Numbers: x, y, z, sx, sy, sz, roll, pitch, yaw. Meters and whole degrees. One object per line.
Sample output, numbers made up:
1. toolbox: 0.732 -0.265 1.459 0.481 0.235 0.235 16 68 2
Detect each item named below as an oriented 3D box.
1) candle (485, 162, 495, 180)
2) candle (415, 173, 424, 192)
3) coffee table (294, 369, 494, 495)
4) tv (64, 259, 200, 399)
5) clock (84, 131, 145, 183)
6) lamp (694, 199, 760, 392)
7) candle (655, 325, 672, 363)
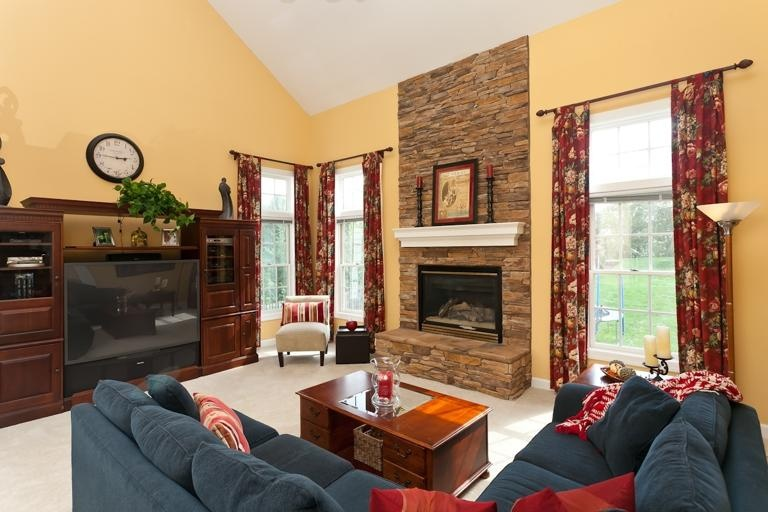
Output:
1. candle: 1.328 -1.056 6.180 0.095 0.186 0.165 -1 1 14
2. candle: 0.492 -0.981 6.778 0.118 0.256 0.202 -1 1 4
3. coffee table: 0.293 1.219 4.512 1.677 0.639 1.016 1 2 41
4. tv: -2.957 0.819 5.627 0.116 1.644 1.810 -2 -2 44
5. clock: -3.399 -1.230 6.256 0.064 0.589 0.648 7 6 41
6. lamp: 3.399 0.367 4.881 0.473 1.768 0.441 -1 2 31
7. candle: 2.497 0.770 4.404 0.107 0.283 0.193 -1 1 27
